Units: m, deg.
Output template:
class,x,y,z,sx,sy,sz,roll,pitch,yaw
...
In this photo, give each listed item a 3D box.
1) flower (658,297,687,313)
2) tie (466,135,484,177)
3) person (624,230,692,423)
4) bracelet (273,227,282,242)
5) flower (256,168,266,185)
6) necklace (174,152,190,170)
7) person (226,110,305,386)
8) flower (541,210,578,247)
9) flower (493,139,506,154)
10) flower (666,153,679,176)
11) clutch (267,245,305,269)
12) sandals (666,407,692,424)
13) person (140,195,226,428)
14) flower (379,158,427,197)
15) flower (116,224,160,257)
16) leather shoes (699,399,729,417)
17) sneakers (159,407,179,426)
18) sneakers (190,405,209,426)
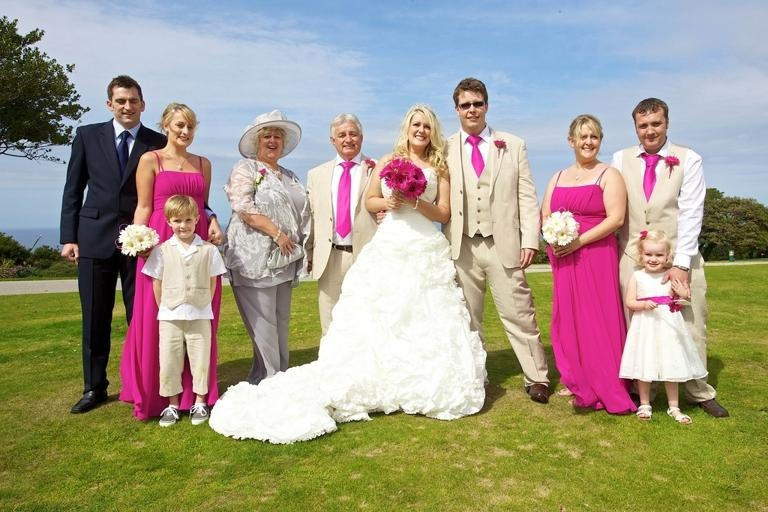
class,x,y,z,sx,sy,sz,roll,pitch,yaw
flower,3.406,0.567,6.825,0.261,0.173,0.126,0,5,-1
tie,1.220,-1.323,7.585,0.169,0.583,0.070,-5,-12,11
person,3.305,0.820,6.863,0.815,2.218,0.494,3,6,29
bracelet,-1.390,-0.274,7.442,0.051,0.145,0.151,19,-34,-12
flower,-1.621,-1.043,7.538,0.140,0.229,0.068,-3,6,-22
necklace,-2.563,-1.182,7.244,0.180,0.175,0.064,3,-1,-35
person,-1.584,-0.103,7.728,1.116,3.645,0.687,-2,6,-16
flower,2.161,-0.375,7.287,0.424,0.434,0.431,25,7,-4
flower,1.515,-1.455,7.576,0.140,0.122,0.139,12,1,-32
flower,3.542,-1.146,7.059,0.187,0.192,0.171,-1,-2,4
clutch,-1.294,0.014,7.555,0.505,0.308,0.167,-5,7,-44
sandals,3.490,1.874,6.787,0.174,0.149,0.268,-4,6,-39
person,-2.403,0.641,6.946,0.862,2.733,0.531,-3,6,-23
flower,0.205,-0.968,7.198,0.527,0.236,0.492,21,1,2
flower,-2.954,-0.204,6.848,0.389,0.395,0.275,-6,10,-2
leather shoes,3.970,1.831,6.913,0.143,0.106,0.291,-17,-2,-10
sneakers,-2.611,1.917,6.944,0.218,0.195,0.250,-1,5,-8
sneakers,-2.239,1.904,6.881,0.140,0.123,0.288,1,-9,-4
